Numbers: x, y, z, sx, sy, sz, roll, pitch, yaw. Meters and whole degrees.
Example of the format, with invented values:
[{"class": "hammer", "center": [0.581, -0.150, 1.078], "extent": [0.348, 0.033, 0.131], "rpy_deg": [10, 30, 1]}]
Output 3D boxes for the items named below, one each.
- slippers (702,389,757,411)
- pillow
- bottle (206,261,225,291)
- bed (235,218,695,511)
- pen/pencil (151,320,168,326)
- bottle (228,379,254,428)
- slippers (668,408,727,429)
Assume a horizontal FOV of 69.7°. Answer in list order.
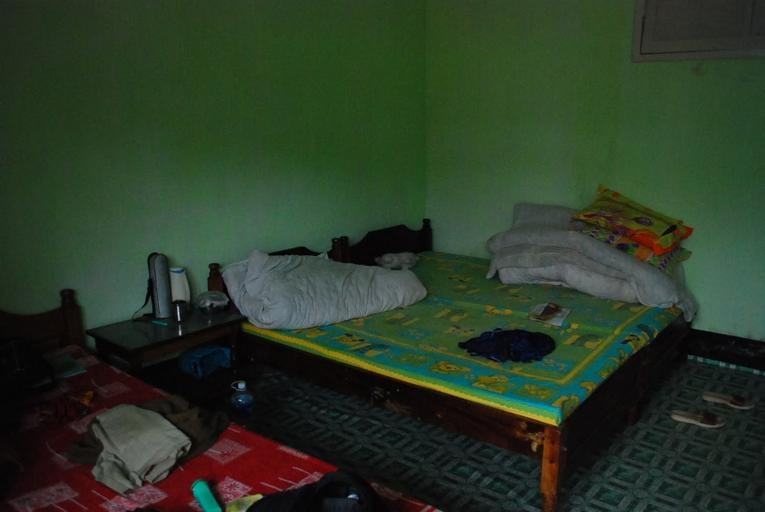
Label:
[{"class": "slippers", "center": [2.470, 1.031, 3.950], "extent": [0.293, 0.064, 0.116], "rpy_deg": [4, 20, 39]}, {"class": "pillow", "center": [1.980, -0.300, 4.476], "extent": [0.773, 0.197, 0.534], "rpy_deg": [32, 53, 32]}, {"class": "bottle", "center": [-1.288, 0.156, 4.192], "extent": [0.128, 0.223, 0.208], "rpy_deg": [-8, 16, -19]}, {"class": "bed", "center": [0.430, 0.634, 3.721], "extent": [1.957, 0.739, 1.842], "rpy_deg": [13, 25, 42]}, {"class": "pen/pencil", "center": [-1.573, 0.464, 3.845], "extent": [0.180, 0.024, 0.025], "rpy_deg": [2, 29, 30]}, {"class": "bottle", "center": [-0.919, 0.931, 3.569], "extent": [0.153, 0.221, 0.138], "rpy_deg": [3, 15, 7]}, {"class": "slippers", "center": [2.129, 1.103, 3.738], "extent": [0.217, 0.053, 0.120], "rpy_deg": [2, 12, 37]}]
